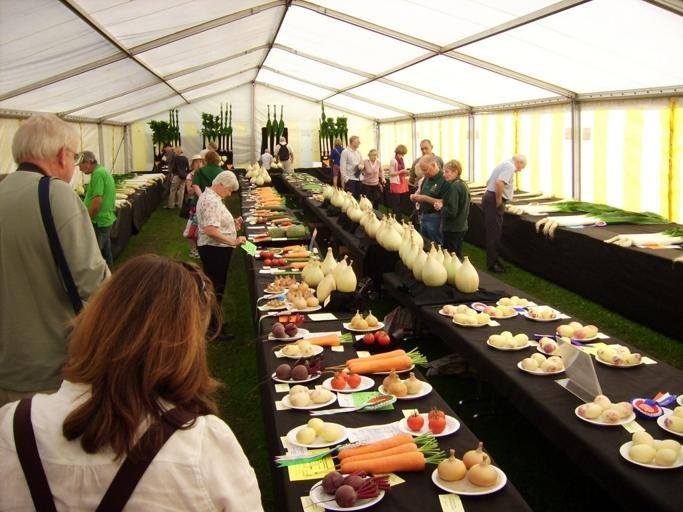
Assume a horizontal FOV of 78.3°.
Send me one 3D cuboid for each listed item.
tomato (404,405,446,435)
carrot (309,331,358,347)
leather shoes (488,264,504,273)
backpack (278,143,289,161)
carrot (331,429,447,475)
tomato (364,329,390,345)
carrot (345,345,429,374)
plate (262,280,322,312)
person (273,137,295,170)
[{"bbox_3d":[0.349,0.689,1.769,0.111,0.054,0.108,2,-4,-4],"label":"tomato"},{"bbox_3d":[-0.073,0.509,2.588,0.214,0.045,0.109,-2,5,-8],"label":"carrot"},{"bbox_3d":[2.495,0.211,6.735,0.121,0.097,0.239,-1,-4,-12],"label":"leather shoes"},{"bbox_3d":[-2.027,-3.508,14.374,0.412,0.597,0.443,10,7,-10],"label":"backpack"},{"bbox_3d":[0.174,0.734,1.582,0.377,0.095,0.158,-1,15,-10],"label":"carrot"},{"bbox_3d":[0.206,0.480,2.476,0.090,0.041,0.090,-10,0,19],"label":"tomato"},{"bbox_3d":[0.240,0.551,2.267,0.431,0.111,0.166,-3,22,-3],"label":"carrot"},{"bbox_3d":[-0.401,0.324,3.200,0.270,0.091,0.276,-3,5,-38],"label":"plate"},{"bbox_3d":[-2.031,-3.399,14.594,0.590,1.479,0.455,-5,30,-6],"label":"person"}]
